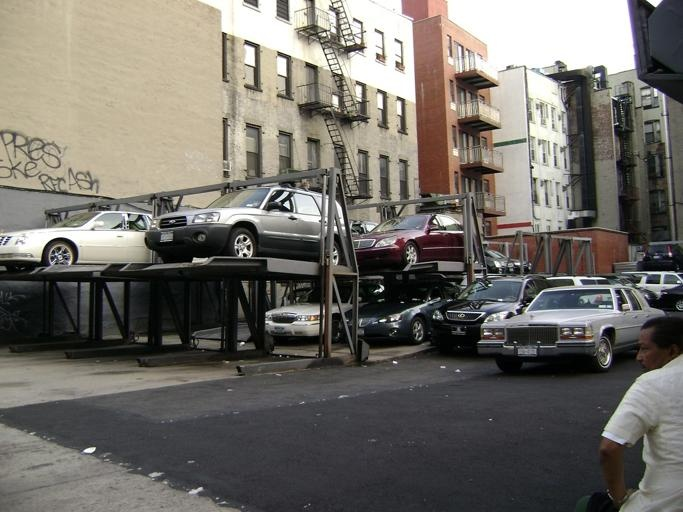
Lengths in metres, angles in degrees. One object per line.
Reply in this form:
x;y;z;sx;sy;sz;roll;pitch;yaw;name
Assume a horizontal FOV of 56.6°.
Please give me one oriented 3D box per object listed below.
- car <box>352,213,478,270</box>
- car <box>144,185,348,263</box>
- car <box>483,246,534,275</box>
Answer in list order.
2.003;-0.403;18.132;3.042;1.538;1.340;-4;-2;-44;car
-2.211;-0.712;14.531;3.751;1.604;1.856;-4;-2;-40;car
6.268;0.189;24.820;1.095;0.765;2.387;0;-3;-27;car
